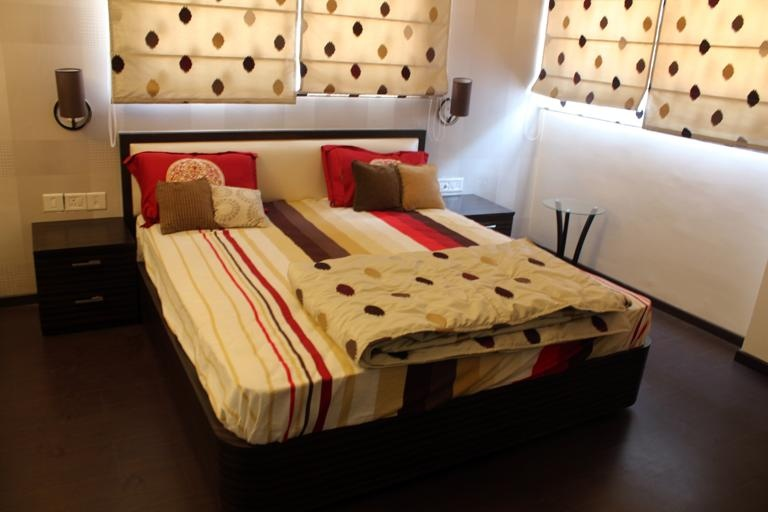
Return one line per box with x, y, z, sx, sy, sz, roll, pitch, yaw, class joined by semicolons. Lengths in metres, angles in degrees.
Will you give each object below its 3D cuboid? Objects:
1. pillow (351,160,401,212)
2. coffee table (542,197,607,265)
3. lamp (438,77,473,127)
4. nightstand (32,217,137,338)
-0.076;-0.578;4.401;0.414;0.362;0.155;-7;8;-20;pillow
1.860;-0.246;5.014;0.482;0.534;0.484;-12;29;-28;coffee table
0.694;-1.481;5.011;0.301;0.455;0.330;-6;21;-15;lamp
-2.252;0.129;4.236;0.790;0.717;0.833;-7;24;-20;nightstand
